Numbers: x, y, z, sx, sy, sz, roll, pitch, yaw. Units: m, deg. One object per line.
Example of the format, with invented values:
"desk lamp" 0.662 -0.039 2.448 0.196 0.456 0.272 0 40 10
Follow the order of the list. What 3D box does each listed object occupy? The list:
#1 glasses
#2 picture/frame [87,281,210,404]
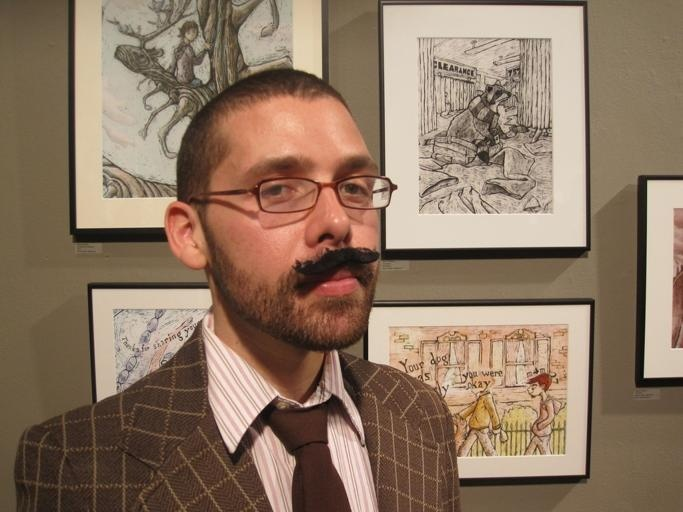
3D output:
"glasses" -0.162 -0.177 2.480 0.531 0.127 0.178 2 -2 -12
"picture/frame" -0.633 0.284 2.834 0.370 0.409 0.029 -1 2 -2
